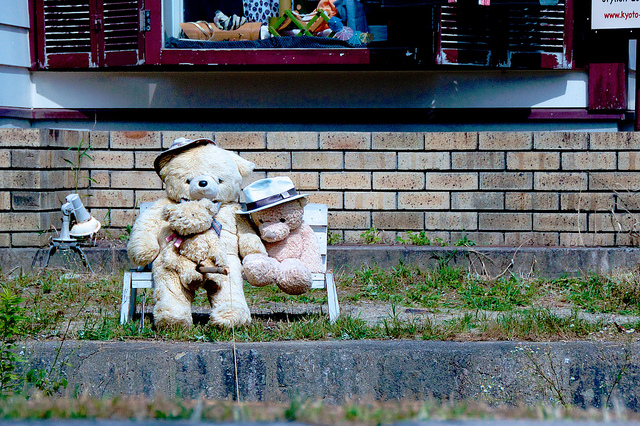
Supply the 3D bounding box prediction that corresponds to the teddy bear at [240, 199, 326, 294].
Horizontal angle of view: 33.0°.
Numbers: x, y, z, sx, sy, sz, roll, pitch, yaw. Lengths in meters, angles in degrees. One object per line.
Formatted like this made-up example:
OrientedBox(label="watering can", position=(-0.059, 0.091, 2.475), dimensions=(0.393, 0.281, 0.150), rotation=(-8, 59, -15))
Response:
OrientedBox(label="teddy bear", position=(-0.476, 0.273, 12.869), dimensions=(0.824, 1.180, 1.141), rotation=(-2, 16, 13))
